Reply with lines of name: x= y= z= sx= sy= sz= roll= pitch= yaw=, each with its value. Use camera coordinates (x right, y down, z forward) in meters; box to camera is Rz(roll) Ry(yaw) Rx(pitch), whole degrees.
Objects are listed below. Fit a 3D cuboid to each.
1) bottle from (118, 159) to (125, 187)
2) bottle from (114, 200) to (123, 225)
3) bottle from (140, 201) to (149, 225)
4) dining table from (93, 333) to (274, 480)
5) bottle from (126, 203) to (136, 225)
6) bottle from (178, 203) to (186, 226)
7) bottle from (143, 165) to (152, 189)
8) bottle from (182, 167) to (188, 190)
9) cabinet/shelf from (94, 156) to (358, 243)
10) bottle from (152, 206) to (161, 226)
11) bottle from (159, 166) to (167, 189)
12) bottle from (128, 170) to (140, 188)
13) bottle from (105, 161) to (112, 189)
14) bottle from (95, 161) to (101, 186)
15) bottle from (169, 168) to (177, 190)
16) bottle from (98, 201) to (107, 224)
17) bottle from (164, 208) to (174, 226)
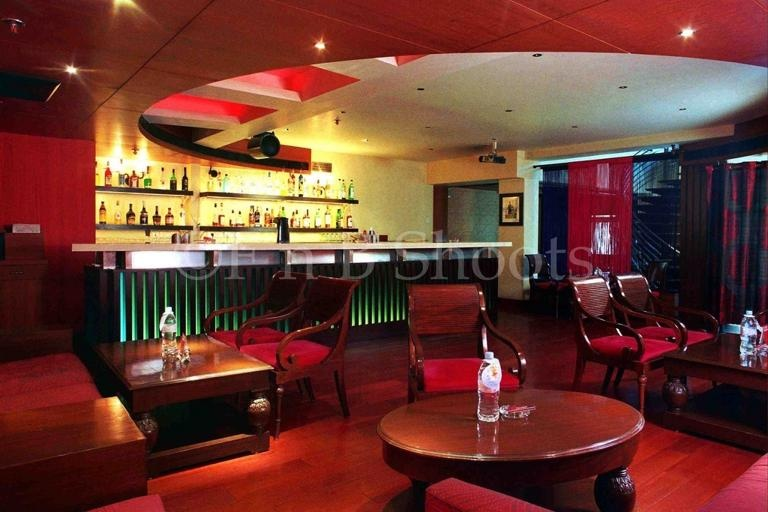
bottle: x=-4.138 y=-1.328 z=8.461 sx=0.102 sy=0.412 sz=0.138 roll=-3 pitch=10 yaw=-24
bottle: x=-4.234 y=-0.708 z=8.526 sx=0.128 sy=0.356 sz=0.170 roll=-4 pitch=10 yaw=-27
bottle: x=-3.883 y=-0.695 z=8.662 sx=0.130 sy=0.332 sz=0.378 roll=-3 pitch=9 yaw=-24
dining table: x=-1.594 y=1.145 z=4.450 sx=0.992 sy=0.540 sz=1.589 roll=1 pitch=-1 yaw=-34
bottle: x=-4.033 y=-0.679 z=8.545 sx=0.150 sy=0.316 sz=0.369 roll=-4 pitch=9 yaw=-25
bottle: x=-3.432 y=-0.722 z=9.126 sx=0.104 sy=0.350 sz=0.204 roll=-3 pitch=9 yaw=-20
bottle: x=-3.801 y=-1.282 z=8.620 sx=0.131 sy=0.371 sz=0.369 roll=-3 pitch=9 yaw=-23
bottle: x=-3.339 y=-1.299 z=8.990 sx=0.111 sy=0.386 sz=0.395 roll=-2 pitch=9 yaw=-19
cabinet/shelf: x=-2.674 y=-0.931 z=9.605 sx=4.504 sy=1.549 sz=0.867 roll=-4 pitch=10 yaw=-32
bottle: x=-3.740 y=-0.676 z=8.816 sx=0.131 sy=0.301 sz=0.343 roll=-3 pitch=9 yaw=-22
bottle: x=-3.655 y=-1.310 z=8.866 sx=0.116 sy=0.321 sz=0.123 roll=1 pitch=9 yaw=0
bottle: x=-3.958 y=-1.225 z=8.481 sx=0.156 sy=0.271 sz=0.310 roll=-2 pitch=9 yaw=-18
bottle: x=-4.262 y=-1.267 z=8.283 sx=0.117 sy=0.382 sz=0.344 roll=-4 pitch=10 yaw=-26
bottle: x=-4.437 y=-1.296 z=8.330 sx=0.051 sy=0.359 sz=0.173 roll=-2 pitch=9 yaw=-18
bottle: x=-3.486 y=-1.261 z=8.852 sx=0.111 sy=0.344 sz=0.395 roll=-3 pitch=9 yaw=-20
bottle: x=-4.394 y=-0.688 z=8.370 sx=0.127 sy=0.336 sz=0.449 roll=-4 pitch=9 yaw=-27
bottle: x=-3.603 y=-0.684 z=8.996 sx=0.138 sy=0.274 sz=0.184 roll=-3 pitch=9 yaw=-23
